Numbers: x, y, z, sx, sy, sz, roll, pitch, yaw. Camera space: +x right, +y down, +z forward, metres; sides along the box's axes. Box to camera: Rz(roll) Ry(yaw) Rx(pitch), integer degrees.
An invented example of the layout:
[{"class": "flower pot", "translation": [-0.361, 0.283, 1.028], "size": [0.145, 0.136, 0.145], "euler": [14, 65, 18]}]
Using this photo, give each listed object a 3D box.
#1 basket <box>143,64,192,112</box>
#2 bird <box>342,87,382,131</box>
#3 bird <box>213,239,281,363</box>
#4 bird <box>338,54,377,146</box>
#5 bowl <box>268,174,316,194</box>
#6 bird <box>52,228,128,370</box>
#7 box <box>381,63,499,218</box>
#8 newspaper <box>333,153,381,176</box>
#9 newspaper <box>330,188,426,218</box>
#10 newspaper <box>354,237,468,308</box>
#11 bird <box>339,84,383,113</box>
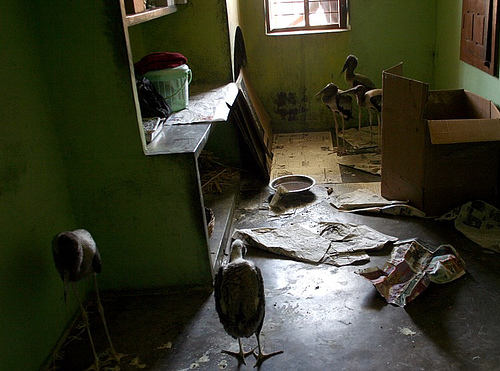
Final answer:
[{"class": "basket", "translation": [-0.864, -0.988, 4.346], "size": [0.505, 0.451, 0.478], "euler": [-14, 27, -15]}, {"class": "bird", "translation": [1.637, -1.103, 5.726], "size": [0.227, 0.586, 0.783], "euler": [-3, 11, 27]}, {"class": "bird", "translation": [-0.068, 0.868, 2.867], "size": [0.379, 0.717, 0.452], "euler": [-16, 22, -28]}, {"class": "bird", "translation": [1.675, -1.339, 6.111], "size": [0.372, 1.201, 0.630], "euler": [-24, 24, -37]}, {"class": "bowl", "translation": [0.558, -0.020, 5.072], "size": [0.559, 0.158, 0.617], "euler": [4, 22, 26]}, {"class": "bird", "translation": [-1.213, 0.764, 2.982], "size": [0.297, 1.028, 0.708], "euler": [-16, 22, -29]}, {"class": "box", "translation": [1.993, -0.408, 4.255], "size": [0.877, 1.413, 1.183], "euler": [-8, 29, -2]}, {"class": "newspaper", "translation": [1.465, -0.291, 5.546], "size": [0.622, 0.109, 0.622], "euler": [0, 21, 16]}, {"class": "newspaper", "translation": [1.320, 0.285, 4.558], "size": [0.713, 0.194, 0.511], "euler": [-6, -18, 39]}, {"class": "newspaper", "translation": [1.421, 0.738, 3.479], "size": [0.637, 0.202, 0.540], "euler": [-17, 25, -25]}, {"class": "bird", "translation": [1.571, -1.201, 5.649], "size": [0.597, 0.365, 0.446], "euler": [6, 23, 30]}]
